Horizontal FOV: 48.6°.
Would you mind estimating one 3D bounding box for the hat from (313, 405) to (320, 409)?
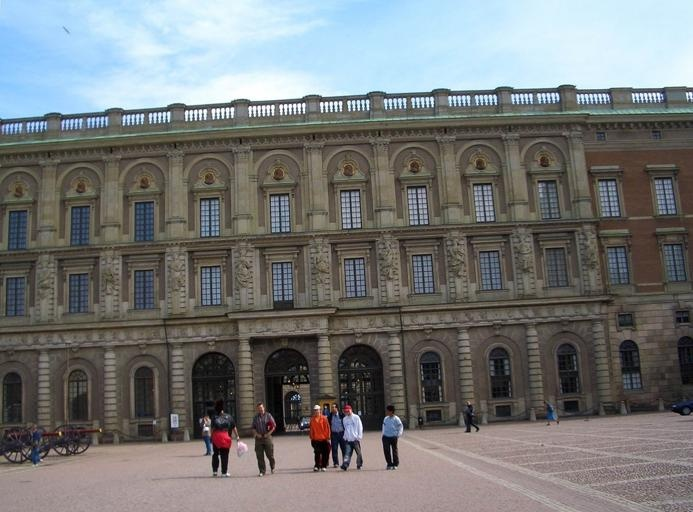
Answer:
[{"bbox_3d":[-1.173,6.088,30.827,0.254,0.124,0.349,-1,-12,-2],"label":"hat"}]

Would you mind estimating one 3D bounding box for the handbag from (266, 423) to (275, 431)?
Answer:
[{"bbox_3d":[-2.999,6.834,30.616,0.372,0.339,0.245,0,5,-2],"label":"handbag"}]

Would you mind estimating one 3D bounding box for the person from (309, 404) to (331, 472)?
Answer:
[{"bbox_3d":[-1.019,7.294,30.890,0.835,2.547,1.195,-3,-12,-2],"label":"person"}]

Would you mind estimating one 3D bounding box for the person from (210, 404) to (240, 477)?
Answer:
[{"bbox_3d":[-4.857,7.282,30.555,1.188,2.785,0.939,-4,-13,8],"label":"person"}]

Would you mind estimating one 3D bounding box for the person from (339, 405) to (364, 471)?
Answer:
[{"bbox_3d":[0.193,7.312,30.995,0.825,2.491,1.440,-5,-12,4],"label":"person"}]

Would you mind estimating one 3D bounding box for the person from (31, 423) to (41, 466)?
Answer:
[{"bbox_3d":[-14.833,8.978,36.560,0.404,1.836,1.013,1,-13,-22],"label":"person"}]

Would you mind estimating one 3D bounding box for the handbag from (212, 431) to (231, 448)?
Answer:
[{"bbox_3d":[-4.945,7.187,30.123,0.616,0.633,0.359,6,17,21],"label":"handbag"}]
